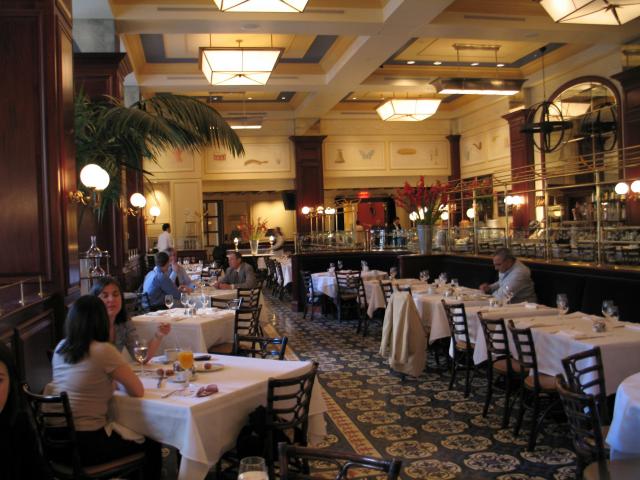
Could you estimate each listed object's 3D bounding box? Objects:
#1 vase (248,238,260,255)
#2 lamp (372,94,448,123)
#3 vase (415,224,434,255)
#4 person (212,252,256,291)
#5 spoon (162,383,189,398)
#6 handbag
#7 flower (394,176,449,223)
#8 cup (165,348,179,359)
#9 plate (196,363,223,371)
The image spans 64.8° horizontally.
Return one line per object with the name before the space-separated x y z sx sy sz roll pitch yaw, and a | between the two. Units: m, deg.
vase | -2.120 0.170 16.573 0.506 0.553 0.478 1 -3 -18
lamp | 2.352 -3.691 14.391 1.552 0.529 2.619 -2 3 0
vase | 2.187 -0.043 10.389 0.341 0.617 0.461 -1 3 12
person | -1.349 0.513 8.099 0.737 0.633 0.562 -7 6 -38
spoon | -0.967 1.022 3.431 0.052 0.013 0.158 1 4 13
handbag | -0.375 1.317 3.505 0.289 0.317 0.466 1 0 -8
flower | 2.095 -0.810 10.067 0.958 0.968 1.091 -1 3 11
cup | -1.177 0.898 3.994 0.120 0.076 0.118 0 3 0
plate | -0.845 0.966 3.860 0.216 0.060 0.128 -2 3 0
